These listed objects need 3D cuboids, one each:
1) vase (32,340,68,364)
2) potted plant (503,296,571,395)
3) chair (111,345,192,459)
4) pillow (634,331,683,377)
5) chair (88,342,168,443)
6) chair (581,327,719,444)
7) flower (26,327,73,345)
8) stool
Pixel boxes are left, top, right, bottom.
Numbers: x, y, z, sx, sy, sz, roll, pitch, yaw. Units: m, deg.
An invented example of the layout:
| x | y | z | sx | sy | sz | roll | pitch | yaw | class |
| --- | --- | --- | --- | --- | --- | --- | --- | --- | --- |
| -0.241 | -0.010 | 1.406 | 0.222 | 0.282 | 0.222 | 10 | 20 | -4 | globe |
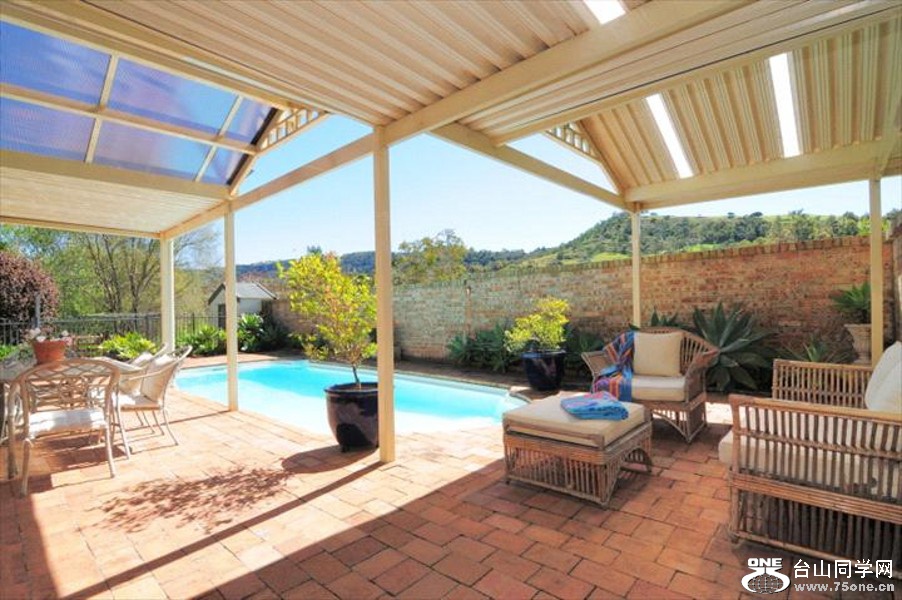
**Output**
| x | y | z | sx | sy | sz | roll | pitch | yaw | class |
| --- | --- | --- | --- | --- | --- | --- | --- | --- | --- |
| -4.812 | 0.607 | 6.143 | 0.373 | 0.234 | 0.330 | 2 | -5 | -16 | vase |
| 1.782 | 0.942 | 9.689 | 1.568 | 1.451 | 1.189 | 2 | -12 | 29 | potted plant |
| -3.863 | 1.212 | 6.483 | 0.902 | 1.007 | 0.942 | -5 | -3 | 42 | chair |
| 2.639 | 0.700 | 6.506 | 0.605 | 0.516 | 0.208 | 6 | -24 | 34 | pillow |
| -3.949 | 1.204 | 6.476 | 1.053 | 1.143 | 0.976 | -1 | -2 | 32 | chair |
| 2.518 | 0.959 | 6.395 | 0.934 | 1.017 | 1.485 | -12 | 9 | -44 | chair |
| -5.002 | 0.450 | 6.363 | 0.395 | 0.159 | 0.393 | 2 | 2 | 34 | flower |
| 1.231 | 1.428 | 5.054 | 1.143 | 0.600 | 1.163 | -2 | 0 | 41 | stool |
